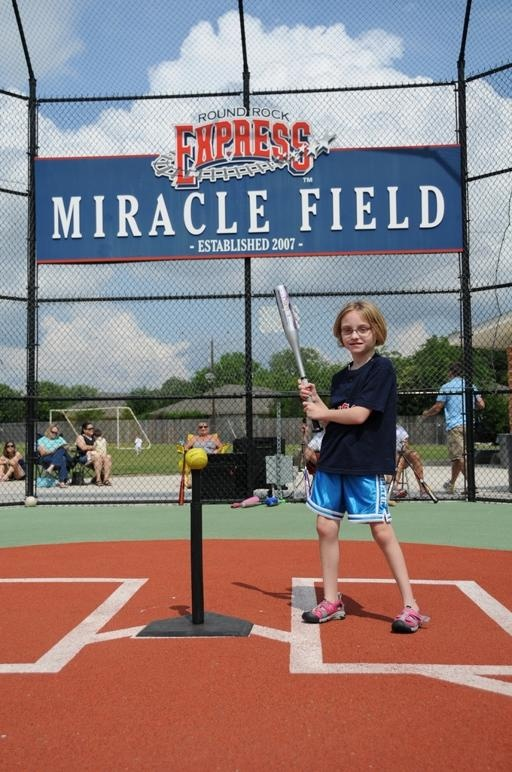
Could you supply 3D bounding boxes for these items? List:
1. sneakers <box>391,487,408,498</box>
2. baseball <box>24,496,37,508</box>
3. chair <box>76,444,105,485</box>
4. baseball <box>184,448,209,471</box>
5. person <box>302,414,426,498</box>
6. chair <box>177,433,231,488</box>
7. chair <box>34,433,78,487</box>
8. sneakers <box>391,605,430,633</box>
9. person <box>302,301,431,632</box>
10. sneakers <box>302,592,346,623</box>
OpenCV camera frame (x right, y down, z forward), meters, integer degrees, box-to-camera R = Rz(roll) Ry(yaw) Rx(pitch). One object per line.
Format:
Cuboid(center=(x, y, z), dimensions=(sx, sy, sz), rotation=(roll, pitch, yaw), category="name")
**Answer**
Cuboid(center=(1.567, 1.187, 9.280), dimensions=(0.154, 0.073, 0.222), rotation=(-1, -9, 6), category="sneakers")
Cuboid(center=(-2.481, 1.275, 9.287), dimensions=(0.119, 0.089, 0.120), rotation=(0, -9, 1), category="baseball")
Cuboid(center=(-2.497, 1.203, 12.845), dimensions=(0.451, 0.589, 0.579), rotation=(-1, -2, -13), category="chair")
Cuboid(center=(-0.288, 0.350, 3.984), dimensions=(0.088, 0.110, 0.115), rotation=(7, 10, 26), category="baseball")
Cuboid(center=(1.168, 0.765, 8.936), dimensions=(1.347, 0.364, 0.922), rotation=(1, 2, -1), category="person")
Cuboid(center=(-0.741, 0.895, 10.036), dimensions=(0.539, 0.549, 0.519), rotation=(5, -10, 20), category="chair")
Cuboid(center=(-2.928, 0.982, 12.351), dimensions=(0.377, 0.979, 0.573), rotation=(11, -29, -31), category="chair")
Cuboid(center=(0.688, 1.081, 3.879), dimensions=(0.077, 0.083, 0.197), rotation=(-9, -21, 23), category="sneakers")
Cuboid(center=(0.483, 0.369, 4.058), dimensions=(0.578, 1.556, 0.433), rotation=(-3, -2, 26), category="person")
Cuboid(center=(0.332, 1.091, 4.112), dimensions=(0.225, 0.109, 0.091), rotation=(5, -13, -32), category="sneakers")
